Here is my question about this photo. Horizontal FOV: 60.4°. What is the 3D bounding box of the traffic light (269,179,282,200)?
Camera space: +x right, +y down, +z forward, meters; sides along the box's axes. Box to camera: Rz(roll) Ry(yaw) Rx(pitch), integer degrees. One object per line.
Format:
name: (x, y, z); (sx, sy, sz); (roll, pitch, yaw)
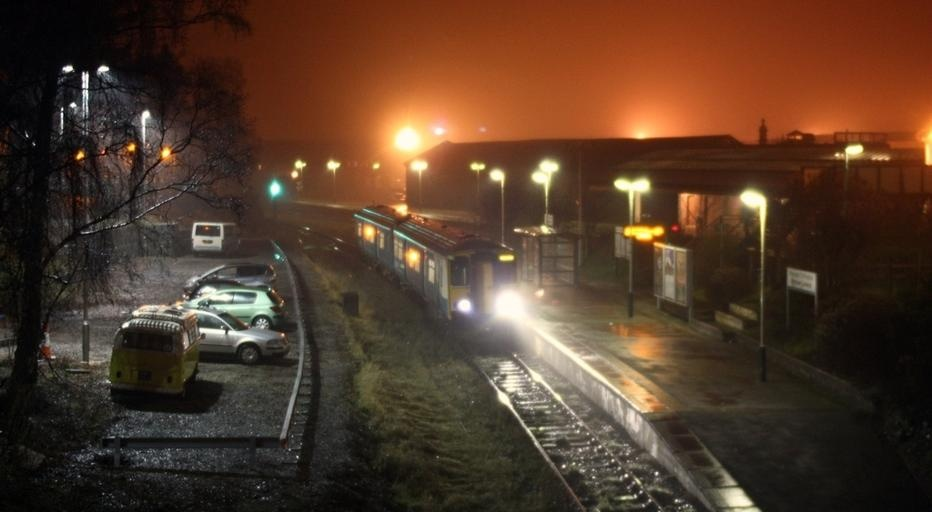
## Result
traffic light: (-11.598, -4.075, 48.580); (0.701, 1.175, 1.558); (1, 5, -14)

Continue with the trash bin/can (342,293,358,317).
trash bin/can: (-5.787, 2.414, 40.224); (0.798, 1.056, 0.889); (1, 4, -7)

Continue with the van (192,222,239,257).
van: (-16.406, -1.264, 53.051); (1.851, 1.498, 2.827); (1, 8, 3)
